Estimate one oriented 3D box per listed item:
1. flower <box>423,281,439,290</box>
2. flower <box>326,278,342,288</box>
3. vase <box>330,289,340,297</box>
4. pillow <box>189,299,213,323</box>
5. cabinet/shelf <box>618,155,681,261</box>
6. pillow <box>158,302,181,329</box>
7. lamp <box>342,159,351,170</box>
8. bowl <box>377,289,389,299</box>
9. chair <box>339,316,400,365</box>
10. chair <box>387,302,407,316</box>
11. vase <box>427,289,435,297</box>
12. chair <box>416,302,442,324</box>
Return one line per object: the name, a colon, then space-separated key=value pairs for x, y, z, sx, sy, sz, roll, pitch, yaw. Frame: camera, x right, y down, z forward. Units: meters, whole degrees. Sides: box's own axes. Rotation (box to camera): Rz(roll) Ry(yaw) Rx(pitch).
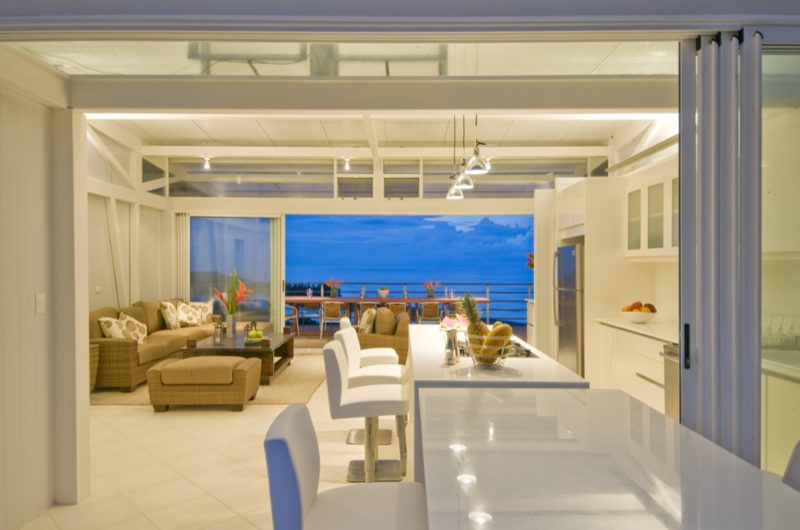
flower: x=0.551 y=0.365 z=11.036 sx=0.216 sy=0.104 sz=0.231 roll=0 pitch=-2 yaw=10
flower: x=-1.259 y=0.333 z=11.213 sx=0.219 sy=0.134 sz=0.208 roll=-3 pitch=4 yaw=-11
vase: x=-1.207 y=0.516 z=11.029 sx=0.160 sy=0.162 sz=0.151 roll=-1 pitch=2 yaw=2
pillow: x=-2.983 y=0.699 z=8.957 sx=0.105 sy=0.301 sz=0.345 roll=-13 pitch=-12 yaw=38
cabinet/shelf: x=2.417 y=-0.542 z=5.698 sx=0.431 sy=1.025 sz=1.251 roll=0 pitch=-3 yaw=1
pillow: x=-3.233 y=0.714 z=8.367 sx=0.114 sy=0.324 sz=0.360 roll=-10 pitch=-2 yaw=15
lamp: x=-0.832 y=-1.562 z=9.293 sx=0.160 sy=0.247 sz=0.141 roll=1 pitch=1 yaw=5
bowl: x=-0.294 y=0.518 z=10.714 sx=0.185 sy=0.119 sz=0.175 roll=0 pitch=-7 yaw=0
chair: x=-0.250 y=0.703 z=5.435 sx=0.599 sy=0.676 sz=0.395 roll=-1 pitch=1 yaw=0
chair: x=-0.050 y=0.713 z=10.076 sx=0.367 sy=0.233 sz=0.188 roll=0 pitch=1 yaw=1
vase: x=0.564 y=0.512 z=10.856 sx=0.143 sy=0.238 sz=0.135 roll=1 pitch=5 yaw=4
chair: x=0.511 y=0.856 z=10.543 sx=0.445 sy=0.629 sz=0.467 roll=1 pitch=2 yaw=-1
